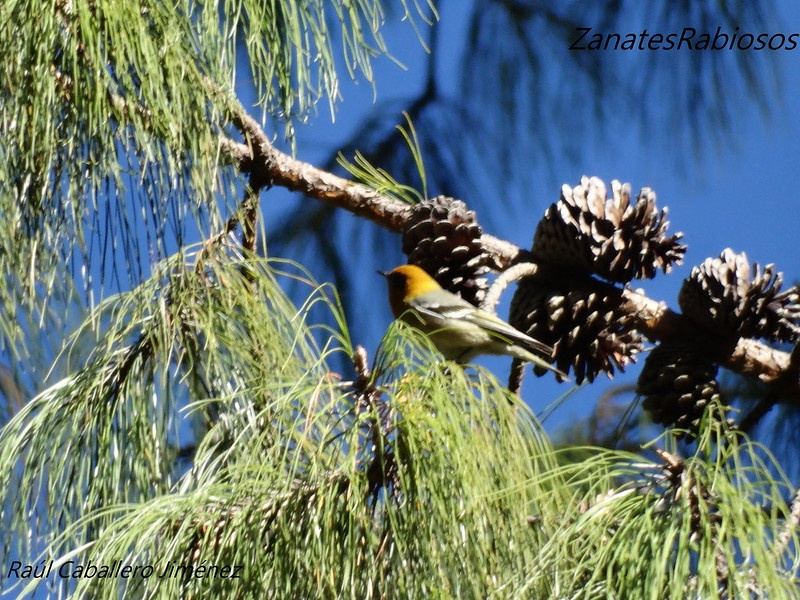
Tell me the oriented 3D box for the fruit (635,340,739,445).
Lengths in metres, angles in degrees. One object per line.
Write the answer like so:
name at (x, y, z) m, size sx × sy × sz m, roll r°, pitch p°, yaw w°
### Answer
fruit at (0.448, 0.136, 2.046) m, size 0.126 × 0.147 × 0.068 m, roll 13°, pitch -12°, yaw 11°

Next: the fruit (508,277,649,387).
fruit at (0.309, 0.063, 2.109) m, size 0.168 × 0.137 × 0.124 m, roll 19°, pitch 28°, yaw 39°
